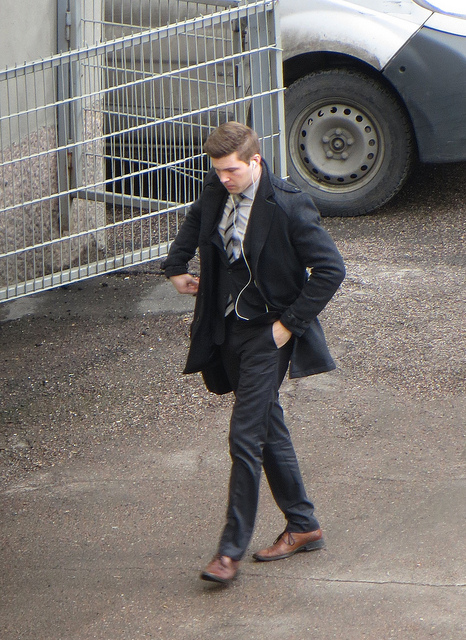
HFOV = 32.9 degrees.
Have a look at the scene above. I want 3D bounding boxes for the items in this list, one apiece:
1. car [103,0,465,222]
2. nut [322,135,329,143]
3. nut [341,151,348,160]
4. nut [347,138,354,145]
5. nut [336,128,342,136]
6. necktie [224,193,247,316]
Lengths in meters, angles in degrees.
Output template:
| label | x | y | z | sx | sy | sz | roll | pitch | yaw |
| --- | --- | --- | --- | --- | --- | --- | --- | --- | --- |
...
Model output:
| label | x | y | z | sx | sy | sz | roll | pitch | yaw |
| --- | --- | --- | --- | --- | --- | --- | --- | --- | --- |
| car | 0.345 | -1.542 | 5.507 | 2.413 | 1.004 | 1.356 | 4 | 7 | 29 |
| nut | 0.774 | -1.530 | 6.660 | 0.044 | 0.067 | 0.064 | 0 | 8 | -9 |
| nut | 0.932 | -1.383 | 6.630 | 0.056 | 0.066 | 0.020 | 0 | 9 | -4 |
| nut | 0.977 | -1.495 | 6.613 | 0.052 | 0.048 | 0.018 | 2 | 9 | 6 |
| nut | 0.886 | -1.586 | 6.633 | 0.042 | 0.054 | 0.022 | 1 | 9 | 0 |
| necktie | 0.007 | -0.331 | 2.852 | 0.037 | 0.246 | 0.092 | -5 | 11 | -36 |
